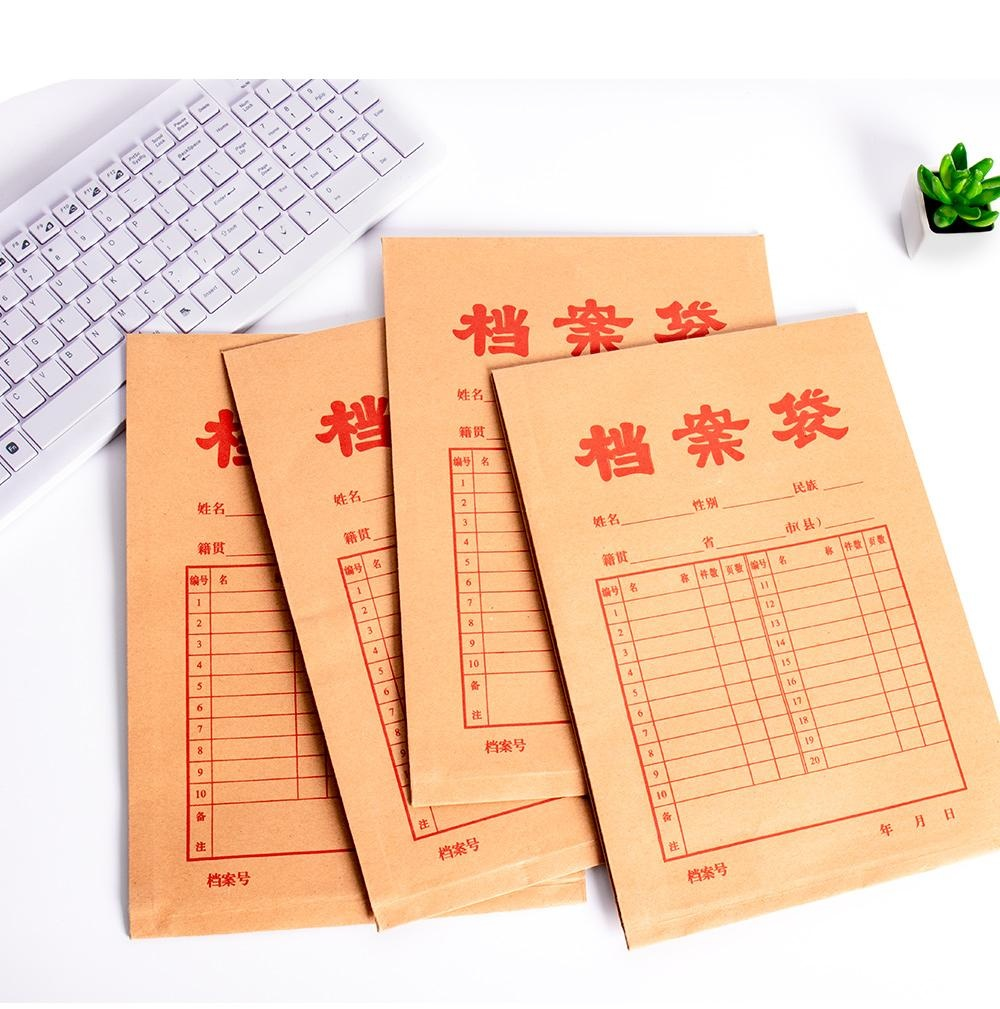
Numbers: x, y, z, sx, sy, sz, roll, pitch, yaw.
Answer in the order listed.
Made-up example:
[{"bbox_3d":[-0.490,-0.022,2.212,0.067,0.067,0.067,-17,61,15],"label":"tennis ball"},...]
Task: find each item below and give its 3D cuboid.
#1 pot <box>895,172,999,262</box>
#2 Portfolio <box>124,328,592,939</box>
[{"bbox_3d":[0.279,-0.178,0.652,0.061,0.051,0.048,-1,-4,3],"label":"pot"},{"bbox_3d":[-0.127,0.075,0.602,0.272,0.036,0.285,-3,71,-4],"label":"Portfolio"}]
